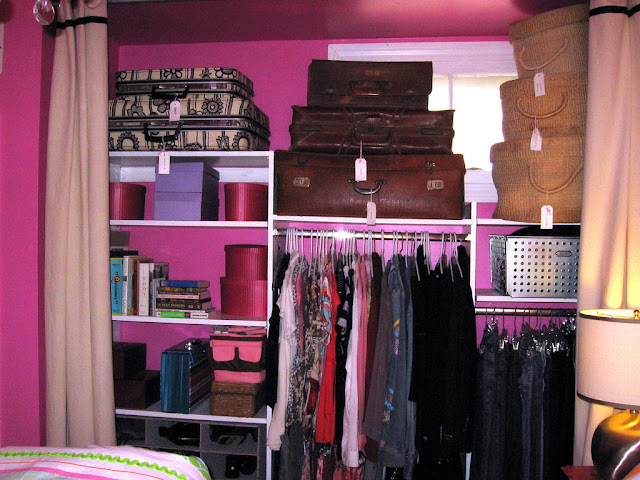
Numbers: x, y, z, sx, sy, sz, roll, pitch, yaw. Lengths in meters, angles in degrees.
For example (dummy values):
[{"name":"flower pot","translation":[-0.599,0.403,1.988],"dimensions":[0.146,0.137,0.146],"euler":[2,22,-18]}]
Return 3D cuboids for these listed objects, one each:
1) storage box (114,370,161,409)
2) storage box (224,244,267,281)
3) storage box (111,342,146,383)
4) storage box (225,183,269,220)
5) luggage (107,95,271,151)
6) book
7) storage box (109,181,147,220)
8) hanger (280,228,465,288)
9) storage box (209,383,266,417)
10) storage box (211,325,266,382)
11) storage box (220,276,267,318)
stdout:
[{"name":"storage box","translation":[-1.043,0.815,3.949],"dimensions":[0.261,0.147,0.152],"euler":[-1,-5,3]},{"name":"storage box","translation":[-0.419,0.121,3.874],"dimensions":[0.182,0.148,0.197],"euler":[1,0,16]},{"name":"storage box","translation":[-1.108,0.694,4.036],"dimensions":[0.155,0.215,0.315],"euler":[1,-2,9]},{"name":"storage box","translation":[-0.413,-0.215,3.947],"dimensions":[0.182,0.172,0.211],"euler":[1,1,22]},{"name":"luggage","translation":[-0.782,-0.659,3.924],"dimensions":[0.841,0.325,0.150],"euler":[0,-1,4]},{"name":"book","translation":[-0.918,0.248,3.973],"dimensions":[0.577,0.390,0.296],"euler":[0,-1,-10]},{"name":"storage box","translation":[-1.115,-0.226,3.976],"dimensions":[0.172,0.216,0.206],"euler":[5,5,20]},{"name":"hanger","translation":[0.329,0.090,4.006],"dimensions":[1.086,0.316,0.635],"euler":[-1,-2,12]},{"name":"storage box","translation":[-0.470,0.877,3.812],"dimensions":[0.283,0.188,0.075],"euler":[0,-1,-9]},{"name":"storage box","translation":[-0.456,0.617,3.879],"dimensions":[0.265,0.308,0.270],"euler":[0,-3,5]},{"name":"storage box","translation":[-0.426,0.333,3.956],"dimensions":[0.211,0.153,0.229],"euler":[2,2,6]}]
